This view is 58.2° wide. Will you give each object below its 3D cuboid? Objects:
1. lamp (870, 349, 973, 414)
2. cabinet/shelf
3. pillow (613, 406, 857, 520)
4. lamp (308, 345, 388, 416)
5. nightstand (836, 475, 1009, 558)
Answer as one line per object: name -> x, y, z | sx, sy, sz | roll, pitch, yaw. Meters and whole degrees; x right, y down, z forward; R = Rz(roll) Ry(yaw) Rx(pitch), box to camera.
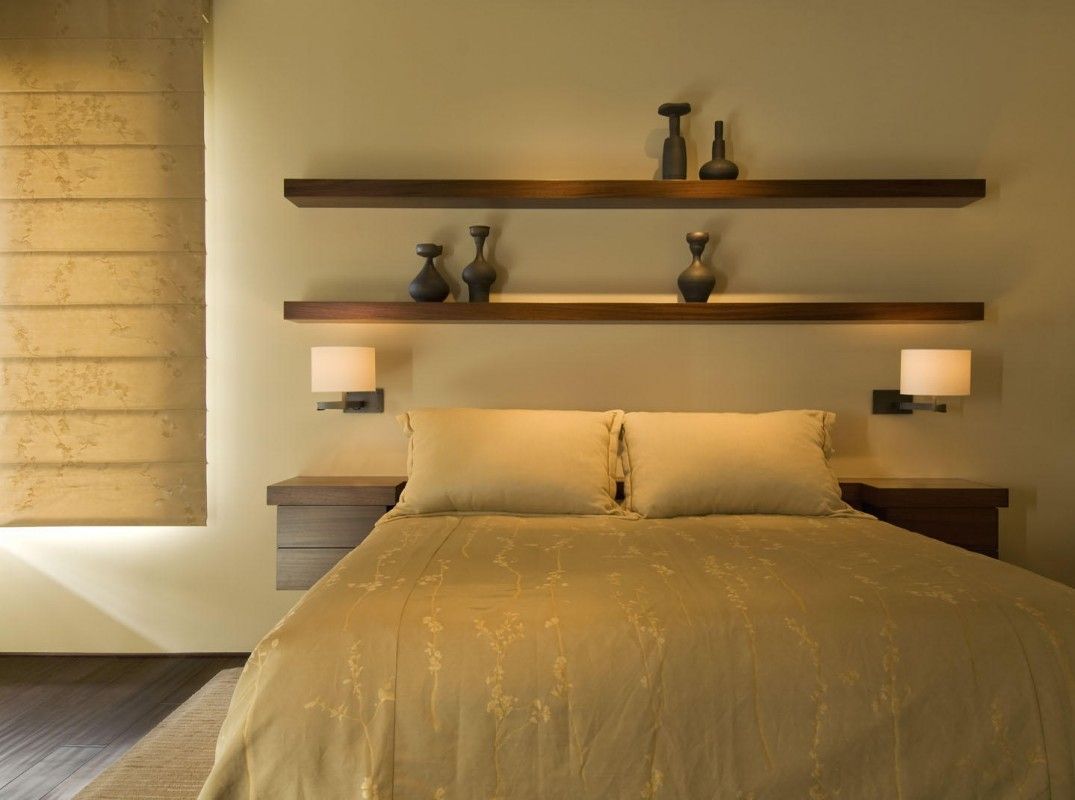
lamp -> 1.893, -0.087, 4.649 | 0.438, 0.325, 0.354 | 0, 1, -5
cabinet/shelf -> 0.380, -0.712, 4.839 | 3.496, 0.592, 0.401 | 1, 8, 12
pillow -> 0.842, 0.276, 4.345 | 1.119, 0.507, 0.295 | -2, -8, -10
lamp -> -0.918, -0.096, 4.679 | 0.331, 0.335, 0.355 | -1, 1, -5
nightstand -> 1.821, 0.601, 4.566 | 0.735, 0.359, 0.394 | 2, 2, -5
